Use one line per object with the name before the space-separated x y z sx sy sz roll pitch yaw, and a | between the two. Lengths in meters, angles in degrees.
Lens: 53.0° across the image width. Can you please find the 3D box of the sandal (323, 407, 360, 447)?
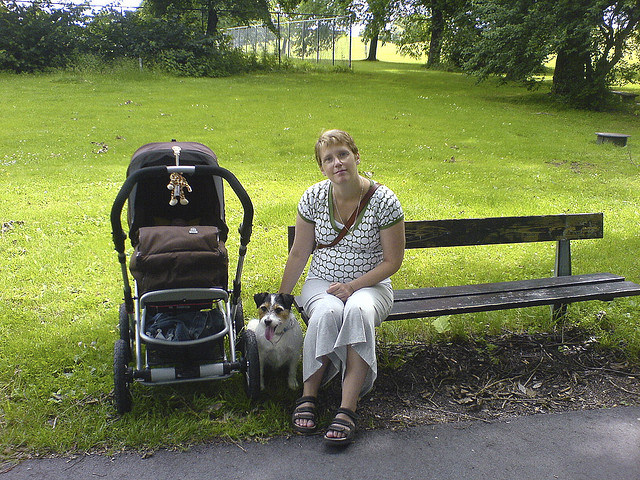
sandal | 0.242 1.853 6.647 0.274 0.243 0.593 10 20 16

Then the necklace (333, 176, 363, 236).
necklace | 0.293 -0.378 7.022 0.323 0.614 0.227 4 16 2

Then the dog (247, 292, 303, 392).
dog | -0.502 1.105 7.464 0.716 1.124 1.451 0 5 -5
